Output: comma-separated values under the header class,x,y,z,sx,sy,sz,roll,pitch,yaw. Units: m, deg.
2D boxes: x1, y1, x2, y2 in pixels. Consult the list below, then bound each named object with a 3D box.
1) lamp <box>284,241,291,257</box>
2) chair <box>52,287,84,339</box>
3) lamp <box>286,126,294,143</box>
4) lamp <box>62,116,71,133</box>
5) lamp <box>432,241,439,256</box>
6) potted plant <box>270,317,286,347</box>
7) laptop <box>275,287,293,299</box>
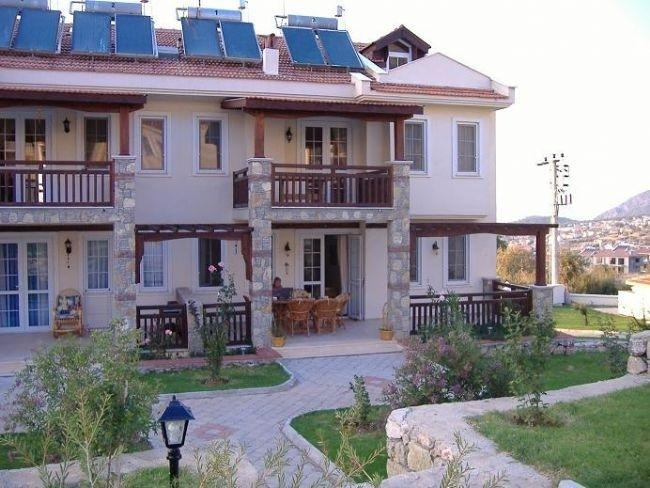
class,x,y,z,sx,sy,sz,roll,pitch,yaw
lamp,-1.276,0.135,25.243,0.221,0.481,0.100,1,7,-10
chair,-7.873,2.114,22.986,0.844,1.344,1.147,1,8,-16
lamp,-1.181,-3.628,24.839,0.189,0.528,0.330,9,10,44
lamp,-7.958,-3.663,23.066,0.241,0.484,0.199,0,8,-22
lamp,3.886,0.119,26.400,0.294,0.513,0.135,-2,9,-34
potted plant,-1.312,2.636,22.129,0.538,0.775,0.550,5,-8,-37
laptop,-1.345,1.509,23.333,0.409,0.326,0.312,2,4,-13
